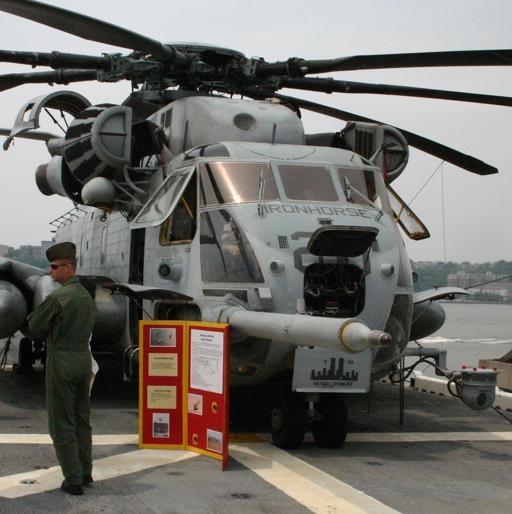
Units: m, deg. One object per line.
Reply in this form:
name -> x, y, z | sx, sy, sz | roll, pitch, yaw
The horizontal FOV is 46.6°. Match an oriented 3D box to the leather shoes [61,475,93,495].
leather shoes -> -1.636, 2.090, 5.446 | 0.113, 0.144, 0.304 | 9, -4, -40

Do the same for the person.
person -> -1.793, 0.990, 5.621 | 0.760, 2.309, 0.592 | 6, -7, -10

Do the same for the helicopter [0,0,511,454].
helicopter -> 0.109, -0.505, 9.013 | 7.571, 2.681, 8.024 | 0, 2, -28
